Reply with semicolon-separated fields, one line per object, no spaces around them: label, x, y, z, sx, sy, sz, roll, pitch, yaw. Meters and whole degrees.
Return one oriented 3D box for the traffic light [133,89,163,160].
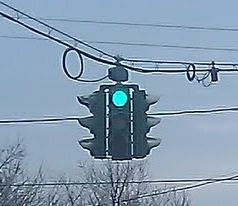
traffic light;0.871;0.643;27.340;0.807;1.713;1.260;0;-42;4
